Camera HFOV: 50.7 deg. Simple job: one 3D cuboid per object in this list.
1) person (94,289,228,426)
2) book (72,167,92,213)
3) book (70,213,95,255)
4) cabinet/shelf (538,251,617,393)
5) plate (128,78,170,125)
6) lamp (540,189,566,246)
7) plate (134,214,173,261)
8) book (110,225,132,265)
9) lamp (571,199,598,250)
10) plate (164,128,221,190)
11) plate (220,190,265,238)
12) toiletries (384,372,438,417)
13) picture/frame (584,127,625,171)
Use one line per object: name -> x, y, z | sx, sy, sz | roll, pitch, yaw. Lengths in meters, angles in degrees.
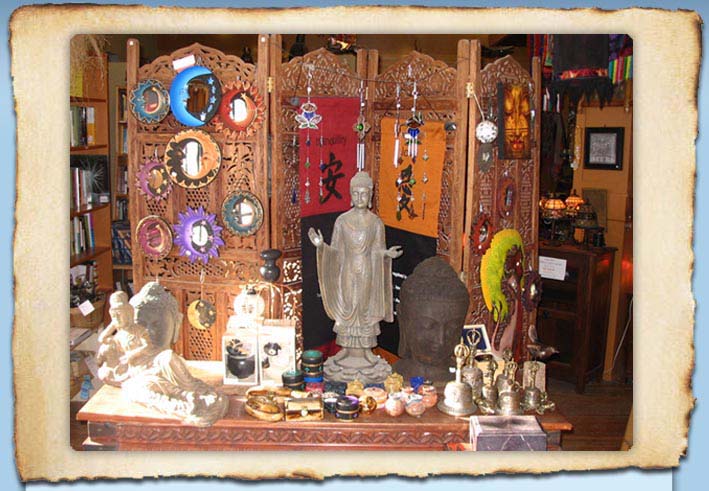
person -> -1.185, 0.567, 4.519 | 0.997, 0.756, 0.474 | 17, 21, 25
book -> -2.480, -0.498, 6.805 | 0.214, 0.371, 0.389 | -1, 6, -27
book -> -2.490, -0.107, 6.835 | 0.193, 0.364, 0.365 | 0, 2, 0
cabinet/shelf -> 1.972, 0.628, 6.681 | 0.673, 1.085, 0.390 | 1, 0, 12
plate -> -1.440, -1.015, 5.270 | 0.288, 0.312, 0.082 | 1, 0, 8
lamp -> 1.788, -0.253, 6.741 | 0.249, 0.442, 0.241 | -4, 10, -16
plate -> -1.436, -0.056, 5.377 | 0.265, 0.320, 0.081 | 1, 0, 8
book -> -2.240, -0.013, 7.232 | 0.314, 0.405, 0.097 | 2, 8, 2
lamp -> 2.057, -0.202, 6.634 | 0.191, 0.436, 0.192 | 0, -10, 31
plate -> -1.146, -0.600, 5.254 | 0.381, 0.401, 0.079 | 1, 1, 6
plate -> -0.798, -0.216, 5.292 | 0.294, 0.310, 0.080 | 3, -5, 5
toiletries -> 0.316, 0.905, 4.515 | 0.225, 0.103, 0.231 | 10, 19, 23
picture/frame -> 2.222, -0.875, 6.706 | 0.355, 0.393, 0.027 | 6, 11, 39
